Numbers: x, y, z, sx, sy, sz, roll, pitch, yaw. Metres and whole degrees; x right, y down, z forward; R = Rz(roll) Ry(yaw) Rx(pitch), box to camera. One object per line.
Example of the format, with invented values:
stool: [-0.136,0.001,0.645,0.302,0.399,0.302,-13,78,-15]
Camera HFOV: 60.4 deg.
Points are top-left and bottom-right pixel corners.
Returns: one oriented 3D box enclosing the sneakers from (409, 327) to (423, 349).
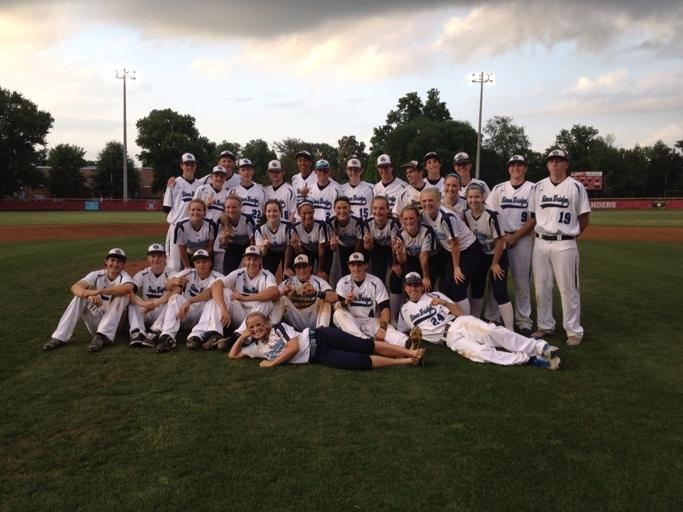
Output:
sneakers: [0.968,1.076,7.771,0.124,0.351,0.137,0,4,10]

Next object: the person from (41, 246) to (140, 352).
person: [-3.330,0.643,8.700,0.974,1.593,1.425,14,-2,0]

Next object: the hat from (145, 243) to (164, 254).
hat: [-3.497,-0.144,10.951,0.314,0.166,0.450,-1,0,-16]

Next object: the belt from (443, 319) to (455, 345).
belt: [1.452,1.063,8.162,0.069,0.270,0.260,10,51,13]
